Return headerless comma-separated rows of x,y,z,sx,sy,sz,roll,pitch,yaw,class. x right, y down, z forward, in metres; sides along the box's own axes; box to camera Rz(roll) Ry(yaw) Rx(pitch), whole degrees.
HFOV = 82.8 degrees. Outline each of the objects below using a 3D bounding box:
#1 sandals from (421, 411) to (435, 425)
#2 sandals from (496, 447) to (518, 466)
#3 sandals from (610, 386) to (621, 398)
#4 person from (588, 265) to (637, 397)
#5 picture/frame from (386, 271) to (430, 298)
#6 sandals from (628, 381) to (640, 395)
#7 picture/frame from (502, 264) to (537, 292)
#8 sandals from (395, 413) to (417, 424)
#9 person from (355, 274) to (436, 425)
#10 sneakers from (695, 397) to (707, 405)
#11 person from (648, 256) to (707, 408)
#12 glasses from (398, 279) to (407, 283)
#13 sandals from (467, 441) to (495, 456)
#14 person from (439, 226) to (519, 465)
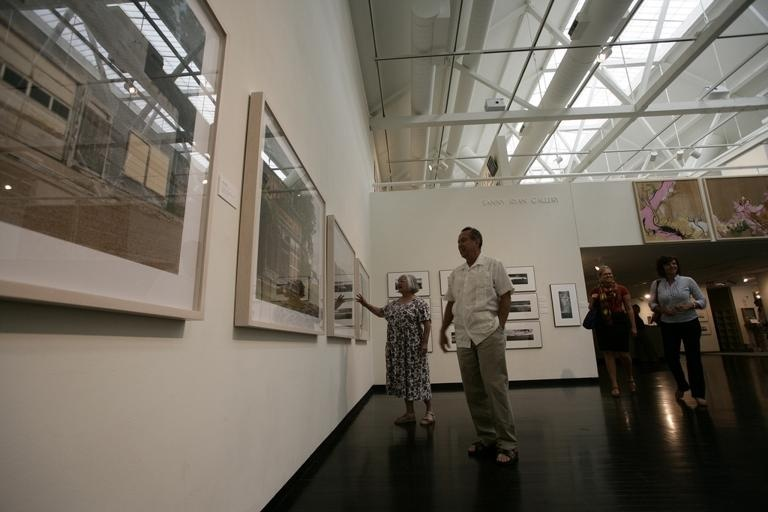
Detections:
0.469,1.761,4.749,0.157,0.114,0.277,-3,-14,4,sandals
0.942,1.528,3.342,0.181,0.096,0.142,-3,-14,4,sandals
3.226,1.888,6.124,0.125,0.105,0.372,-4,-11,11,sandals
3.384,1.038,6.445,0.572,1.907,1.090,-9,-16,28,person
0.407,0.464,6.987,0.656,0.502,0.026,0,-27,4,picture/frame
3.657,1.941,6.412,0.135,0.192,0.460,-7,-24,17,sandals
2.260,0.367,7.174,0.659,0.631,0.072,-1,-25,1,picture/frame
0.231,1.790,4.806,0.234,0.106,0.267,-2,-14,2,sandals
0.245,1.058,4.987,0.691,1.607,0.494,-10,-16,32,person
3.519,1.604,4.842,0.068,0.059,0.129,-3,-6,19,sneakers
3.494,0.832,5.176,0.576,1.765,0.587,13,-19,-33,person
0.204,0.279,4.956,0.044,0.033,0.059,-4,-2,27,glasses
0.798,1.578,3.566,0.235,0.085,0.231,-4,-14,10,sandals
0.829,0.693,3.686,0.348,1.882,0.526,4,-15,-23,person
